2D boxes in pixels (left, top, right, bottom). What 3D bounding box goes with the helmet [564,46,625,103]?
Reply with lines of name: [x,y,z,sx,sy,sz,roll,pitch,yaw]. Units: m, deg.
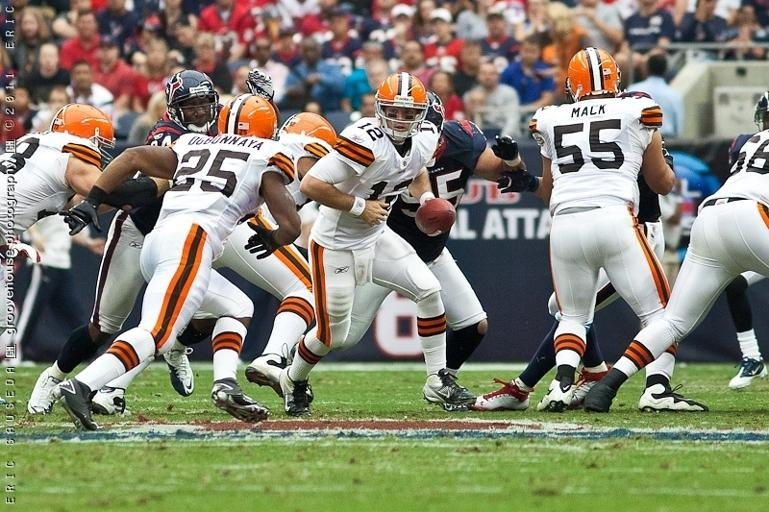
helmet: [1.474,-1.284,7.046,0.333,0.407,0.467,-10,18,-1]

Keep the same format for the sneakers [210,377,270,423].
sneakers: [-0.969,0.886,6.289,0.138,0.206,0.409,-8,-32,32]

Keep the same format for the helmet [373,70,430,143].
helmet: [0.091,-0.971,6.531,0.322,0.408,0.430,2,30,-3]

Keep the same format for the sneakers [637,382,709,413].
sneakers: [2.012,1.003,7.074,0.541,0.265,0.193,1,-8,8]

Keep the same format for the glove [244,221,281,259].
glove: [-0.790,-0.097,6.318,0.188,0.226,0.285,-1,3,-24]

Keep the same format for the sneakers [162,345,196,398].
sneakers: [-1.620,0.914,7.801,0.161,0.498,0.201,-21,18,-15]

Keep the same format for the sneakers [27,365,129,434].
sneakers: [-1.975,0.937,6.435,0.130,0.394,0.187,-46,2,45]

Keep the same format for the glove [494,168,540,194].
glove: [1.021,-0.530,7.166,0.427,0.172,0.124,1,-29,-7]

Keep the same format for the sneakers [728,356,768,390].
sneakers: [2.843,0.889,7.706,0.369,0.236,0.118,-2,3,-34]

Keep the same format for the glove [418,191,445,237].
glove: [0.327,-0.286,6.827,0.194,0.216,0.250,11,11,-31]

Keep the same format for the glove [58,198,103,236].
glove: [-2.115,-0.280,6.915,0.229,0.234,0.083,40,-1,14]

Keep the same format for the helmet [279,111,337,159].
helmet: [-0.559,-0.874,7.132,0.409,0.370,0.685,0,3,-5]

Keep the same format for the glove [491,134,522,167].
glove: [0.874,-0.751,7.075,0.198,0.228,0.306,0,3,2]

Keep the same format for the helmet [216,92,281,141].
helmet: [-0.952,-0.920,7.126,0.389,0.477,0.542,3,5,23]

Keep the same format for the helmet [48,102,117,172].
helmet: [-2.104,-0.787,6.890,0.468,0.503,0.376,12,-3,-33]

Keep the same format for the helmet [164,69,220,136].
helmet: [-1.360,-1.108,6.891,0.328,0.406,0.394,-21,33,-38]
